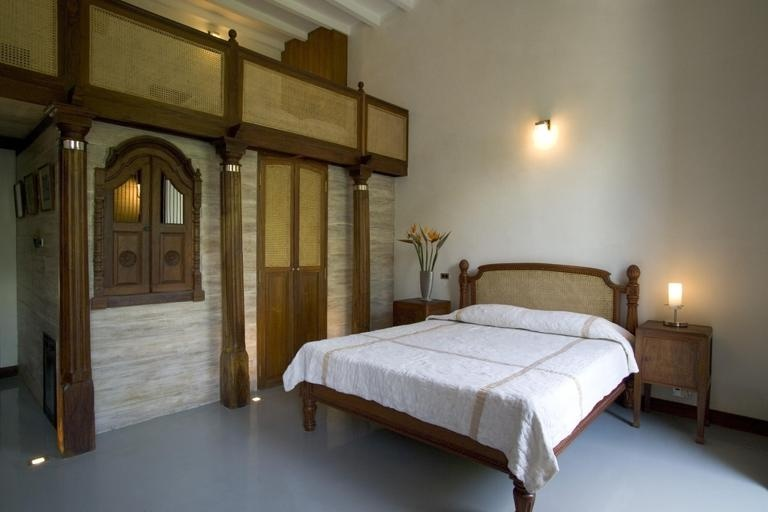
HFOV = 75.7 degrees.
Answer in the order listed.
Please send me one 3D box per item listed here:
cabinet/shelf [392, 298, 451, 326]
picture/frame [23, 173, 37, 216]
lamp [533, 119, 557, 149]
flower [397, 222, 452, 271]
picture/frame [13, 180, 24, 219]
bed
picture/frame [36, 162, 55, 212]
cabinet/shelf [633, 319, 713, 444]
[{"bbox_3d":[0.480,0.693,6.482,0.446,0.459,0.452,-4,5,-44],"label":"cabinet/shelf"},{"bbox_3d":[-3.849,-0.683,5.390,0.056,0.561,0.470,-1,-1,-44],"label":"picture/frame"},{"bbox_3d":[1.920,-1.446,5.891,0.267,0.322,0.134,-1,2,20],"label":"lamp"},{"bbox_3d":[0.601,-0.038,6.789,0.530,0.588,0.447,-2,5,32],"label":"flower"},{"bbox_3d":[-4.273,-0.680,5.789,0.076,0.567,0.475,0,0,-39],"label":"picture/frame"},{"bbox_3d":[1.171,1.040,5.082,2.046,1.888,2.751,0,3,42],"label":"bed"},{"bbox_3d":[-3.415,-0.703,5.004,0.070,0.481,0.479,2,-8,-37],"label":"picture/frame"},{"bbox_3d":[2.921,1.235,5.007,0.668,1.089,0.591,0,3,35],"label":"cabinet/shelf"}]
